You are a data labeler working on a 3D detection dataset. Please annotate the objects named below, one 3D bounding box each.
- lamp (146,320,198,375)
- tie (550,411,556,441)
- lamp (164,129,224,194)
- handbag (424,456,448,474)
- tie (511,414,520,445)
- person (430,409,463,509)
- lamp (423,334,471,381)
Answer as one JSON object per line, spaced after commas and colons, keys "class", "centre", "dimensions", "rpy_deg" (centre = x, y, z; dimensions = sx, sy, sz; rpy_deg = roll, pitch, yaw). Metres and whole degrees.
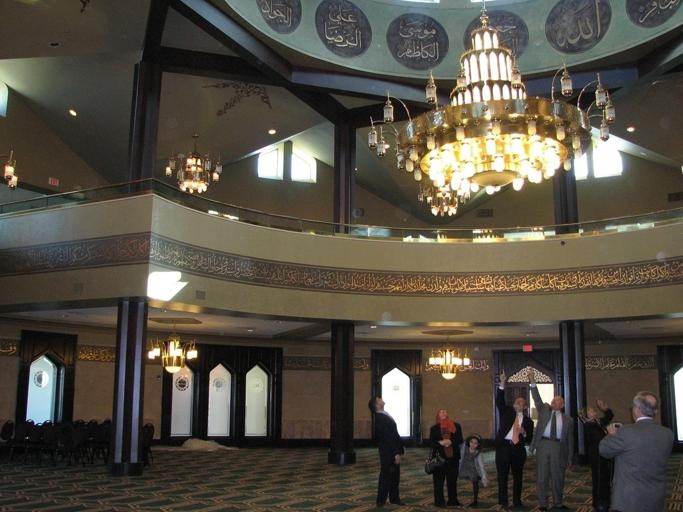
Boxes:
{"class": "lamp", "centre": [-3.940, 2.028, 14.325], "dimensions": [1.164, 1.285, 1.212], "rpy_deg": [3, 4, -1]}
{"class": "tie", "centre": [2.615, 2.117, 7.537], "dimensions": [0.095, 0.272, 0.057], "rpy_deg": [-4, -12, 15]}
{"class": "lamp", "centre": [-3.245, -2.078, 13.510], "dimensions": [0.881, 1.193, 0.923], "rpy_deg": [-4, -8, 11]}
{"class": "handbag", "centre": [1.195, 2.684, 7.821], "dimensions": [0.276, 0.234, 0.230], "rpy_deg": [-4, -13, 14]}
{"class": "tie", "centre": [2.205, 2.209, 7.735], "dimensions": [0.136, 0.334, 0.044], "rpy_deg": [6, -14, -29]}
{"class": "person", "centre": [1.367, 2.617, 7.898], "dimensions": [0.398, 1.201, 0.485], "rpy_deg": [-3, -12, 11]}
{"class": "lamp", "centre": [2.825, 2.696, 16.349], "dimensions": [1.078, 1.595, 1.173], "rpy_deg": [1, -15, 2]}
